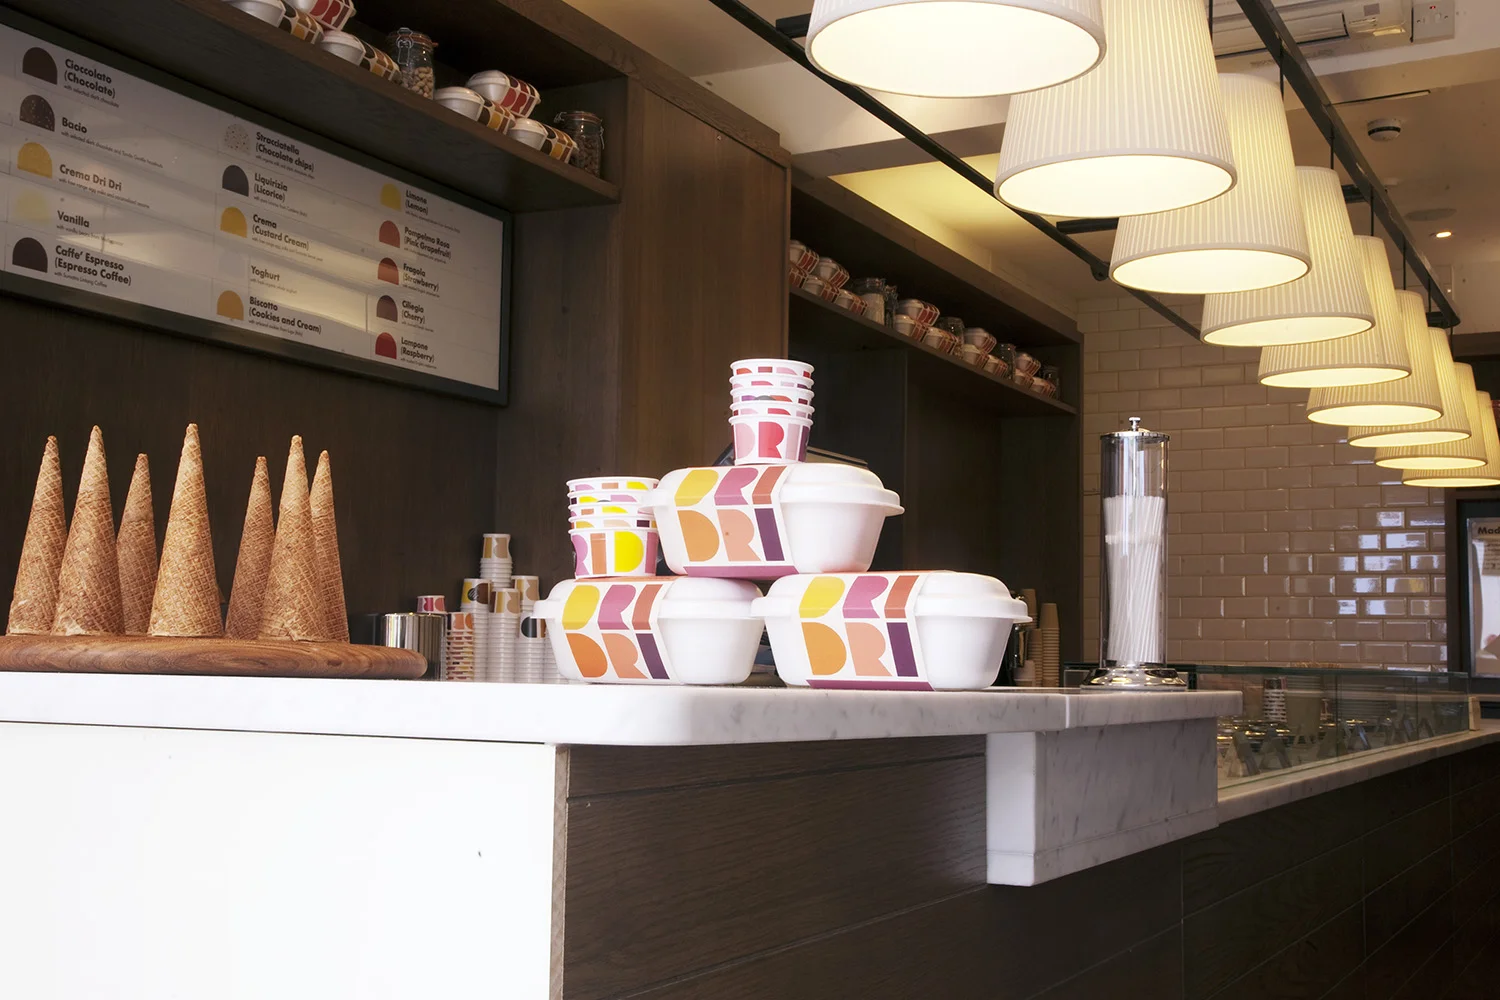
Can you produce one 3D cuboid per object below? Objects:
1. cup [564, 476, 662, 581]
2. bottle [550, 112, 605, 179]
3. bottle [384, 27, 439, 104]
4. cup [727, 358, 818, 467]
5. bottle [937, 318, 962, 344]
[{"bbox_3d":[-0.199,0.043,1.665,0.133,0.105,0.142,-1,-15,0],"label":"cup"},{"bbox_3d":[-0.502,-1.072,3.515,0.112,0.158,0.121,8,11,-2],"label":"bottle"},{"bbox_3d":[-0.898,-1.145,3.054,0.127,0.172,0.123,-3,-3,0],"label":"bottle"},{"bbox_3d":[0.031,-0.125,1.654,0.141,0.129,0.133,2,-4,0],"label":"cup"},{"bbox_3d":[0.992,-0.846,5.678,0.139,0.123,0.133,0,-9,-1],"label":"bottle"}]
